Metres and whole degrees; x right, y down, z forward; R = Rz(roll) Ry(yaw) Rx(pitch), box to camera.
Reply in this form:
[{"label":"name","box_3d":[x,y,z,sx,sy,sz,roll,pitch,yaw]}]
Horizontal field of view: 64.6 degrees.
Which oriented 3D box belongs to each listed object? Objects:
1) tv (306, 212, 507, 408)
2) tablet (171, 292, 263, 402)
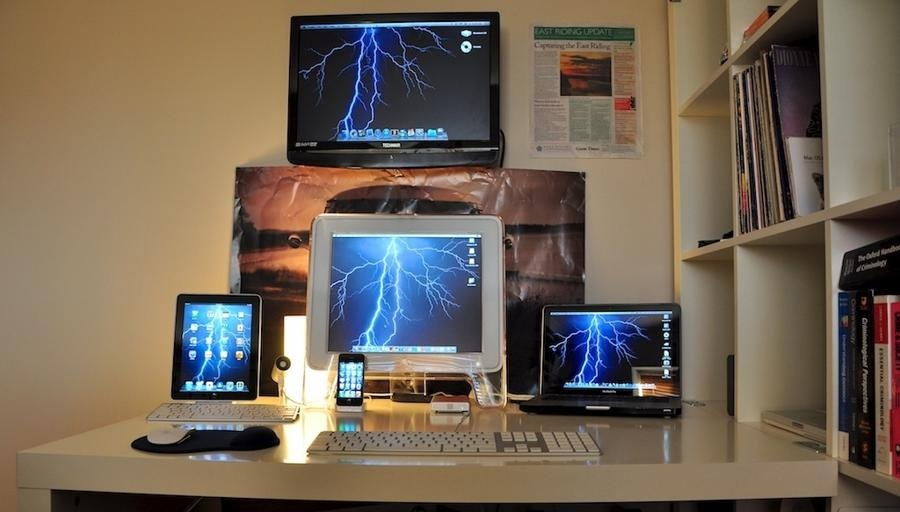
[{"label":"tv","box_3d":[-0.183,0.207,2.935,0.811,0.713,0.398,0,-13,1]},{"label":"tablet","box_3d":[-0.958,0.369,2.919,0.330,0.415,0.078,0,-4,8]}]
